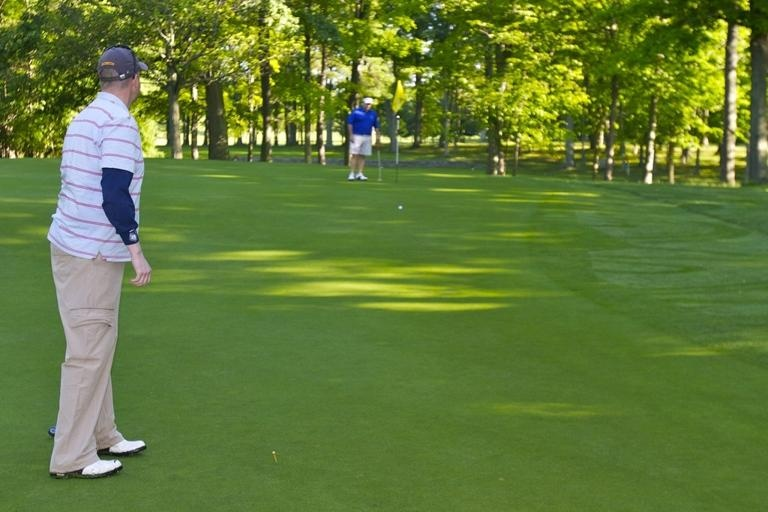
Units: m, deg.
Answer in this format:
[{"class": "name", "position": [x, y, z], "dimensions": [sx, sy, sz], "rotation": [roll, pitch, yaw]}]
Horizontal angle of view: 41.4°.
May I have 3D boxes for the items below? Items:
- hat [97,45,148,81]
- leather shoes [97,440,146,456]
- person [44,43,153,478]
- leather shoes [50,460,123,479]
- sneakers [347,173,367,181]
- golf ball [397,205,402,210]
[{"class": "hat", "position": [-2.374, -1.739, 9.291], "dimensions": [0.331, 0.239, 0.436], "rotation": [12, 33, 17]}, {"class": "leather shoes", "position": [-2.381, 1.727, 9.239], "dimensions": [0.359, 0.110, 0.173], "rotation": [-7, -6, 9]}, {"class": "person", "position": [-2.561, 0.046, 9.093], "dimensions": [0.878, 3.801, 0.685], "rotation": [-1, 7, -14]}, {"class": "leather shoes", "position": [-2.633, 1.880, 9.082], "dimensions": [0.625, 0.207, 0.211], "rotation": [2, -4, -3]}, {"class": "sneakers", "position": [-0.631, -1.762, 23.321], "dimensions": [0.228, 0.152, 0.378], "rotation": [0, -4, -41]}, {"class": "golf ball", "position": [0.301, -0.851, 18.280], "dimensions": [0.077, 0.035, 0.070], "rotation": [1, 11, 0]}]
